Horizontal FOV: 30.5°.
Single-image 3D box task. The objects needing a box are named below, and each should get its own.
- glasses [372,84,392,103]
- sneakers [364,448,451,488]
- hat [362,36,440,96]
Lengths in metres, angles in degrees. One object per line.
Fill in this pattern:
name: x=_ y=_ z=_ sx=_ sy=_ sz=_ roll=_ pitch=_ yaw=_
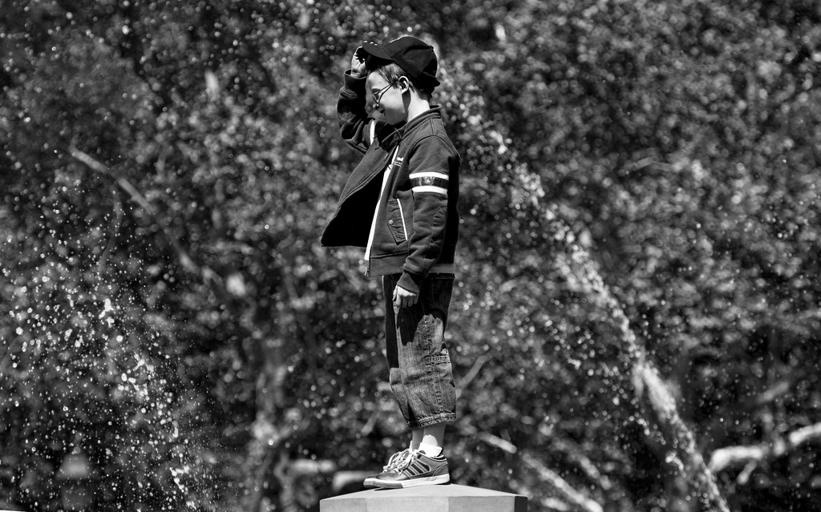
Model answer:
glasses: x=-0.207 y=-1.161 z=10.736 sx=0.035 sy=0.117 sz=0.125 roll=27 pitch=91 yaw=-5
sneakers: x=-0.037 y=1.511 z=10.728 sx=0.620 sy=0.242 sz=0.302 roll=1 pitch=83 yaw=-9
hat: x=-0.023 y=-1.452 z=10.867 sx=0.561 sy=0.405 sz=0.300 roll=28 pitch=88 yaw=-4
